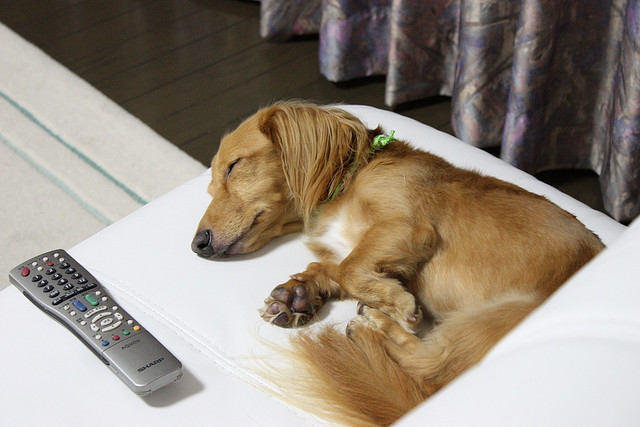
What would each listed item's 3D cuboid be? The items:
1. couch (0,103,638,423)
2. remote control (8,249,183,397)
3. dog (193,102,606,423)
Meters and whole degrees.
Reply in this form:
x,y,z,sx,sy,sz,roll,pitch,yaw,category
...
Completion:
x,y,z,sx,sy,sz,roll,pitch,yaw,category
-0.030,0.126,1.446,1.409,0.333,0.709,-1,51,11,couch
-0.488,0.229,1.446,0.185,0.084,0.551,-29,60,-34,remote control
0.123,0.088,1.518,0.778,0.288,0.621,17,93,3,dog
